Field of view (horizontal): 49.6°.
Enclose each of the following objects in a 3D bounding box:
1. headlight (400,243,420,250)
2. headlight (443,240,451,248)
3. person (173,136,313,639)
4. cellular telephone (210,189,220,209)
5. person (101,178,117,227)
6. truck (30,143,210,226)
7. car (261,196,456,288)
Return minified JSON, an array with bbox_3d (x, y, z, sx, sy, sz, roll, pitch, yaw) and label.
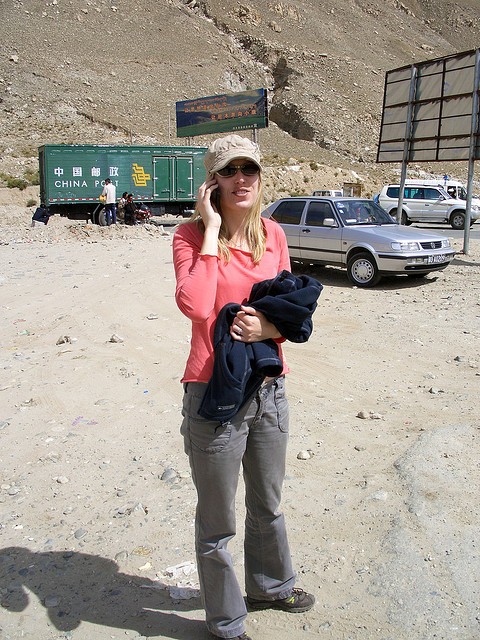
[{"bbox_3d":[3.105,-1.357,9.521,0.433,0.140,0.050,-9,14,-25],"label":"headlight"},{"bbox_3d":[4.047,-1.505,10.221,0.040,0.163,0.171,2,4,43],"label":"headlight"},{"bbox_3d":[0.014,0.338,1.961,0.469,2.015,0.526,-2,13,7],"label":"person"},{"bbox_3d":[-0.092,-0.452,1.939,0.033,0.071,0.039,-6,13,-14],"label":"cellular telephone"},{"bbox_3d":[-5.186,-4.739,20.712,0.522,1.779,1.407,-6,13,-13],"label":"person"},{"bbox_3d":[-4.710,-6.267,24.387,8.800,3.481,2.445,-8,19,-27],"label":"truck"},{"bbox_3d":[2.248,-1.644,10.987,1.958,1.567,3.930,-10,15,-43],"label":"car"}]
